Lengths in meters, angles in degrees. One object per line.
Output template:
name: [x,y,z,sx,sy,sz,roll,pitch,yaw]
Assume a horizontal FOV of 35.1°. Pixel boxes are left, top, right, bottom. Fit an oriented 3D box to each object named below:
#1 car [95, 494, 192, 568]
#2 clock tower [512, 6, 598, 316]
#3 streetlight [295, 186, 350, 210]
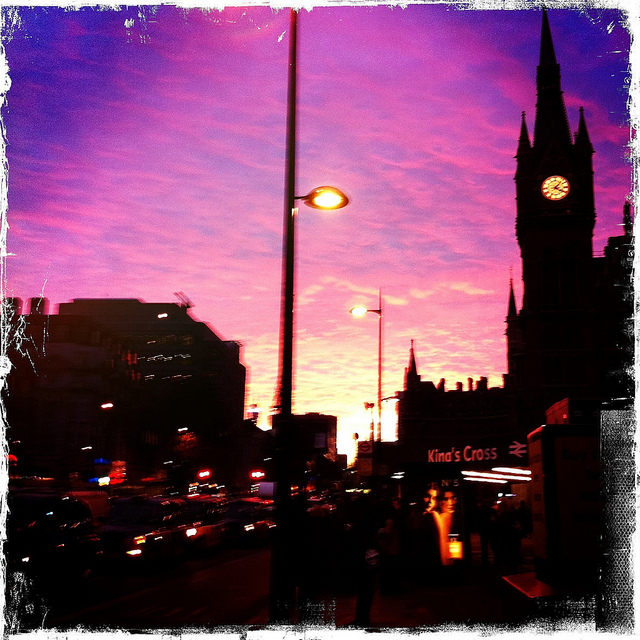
car: [-4.272,5.132,24.664,1.855,1.587,3.735,0,-9,-1]
clock tower: [17.888,-11.318,76.612,5.146,22.833,3.738,-9,-15,38]
streetlight: [0.060,-2.005,17.027,0.800,0.410,0.583,-2,-10,13]
